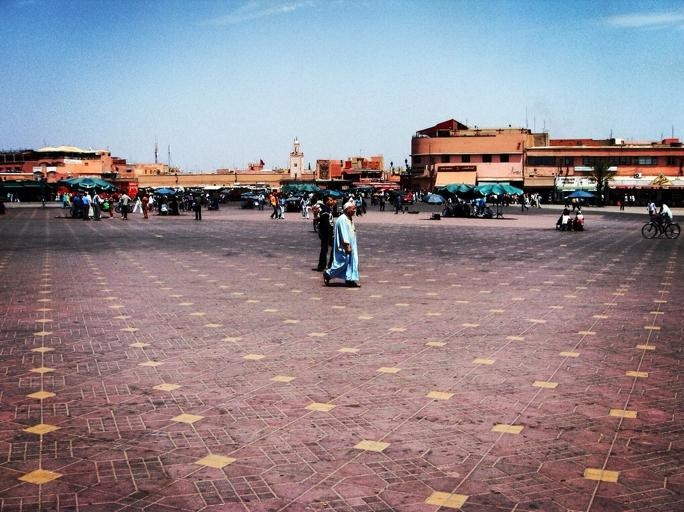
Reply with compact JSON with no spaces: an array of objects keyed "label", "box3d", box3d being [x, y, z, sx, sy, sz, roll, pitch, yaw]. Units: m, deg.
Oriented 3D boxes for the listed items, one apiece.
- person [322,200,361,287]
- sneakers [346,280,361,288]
[{"label":"person","box3d":[0.010,-0.238,10.462,0.690,1.647,0.659,1,10,1]},{"label":"sneakers","box3d":[0.222,0.556,10.342,0.344,0.175,0.098,0,14,0]}]
